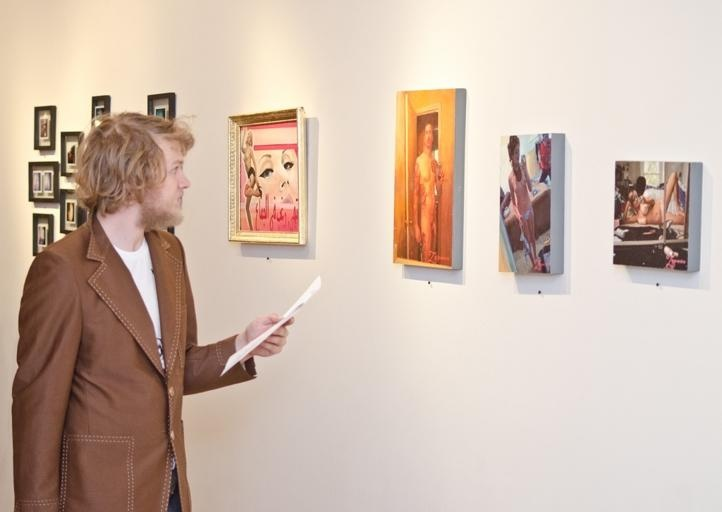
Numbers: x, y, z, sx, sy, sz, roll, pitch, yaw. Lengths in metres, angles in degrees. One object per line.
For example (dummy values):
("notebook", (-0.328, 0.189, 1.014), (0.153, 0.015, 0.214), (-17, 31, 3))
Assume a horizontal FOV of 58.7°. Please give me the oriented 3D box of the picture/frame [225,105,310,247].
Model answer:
("picture/frame", (-0.540, -0.486, 3.863), (0.721, 1.129, 0.107), (1, 2, 30))
